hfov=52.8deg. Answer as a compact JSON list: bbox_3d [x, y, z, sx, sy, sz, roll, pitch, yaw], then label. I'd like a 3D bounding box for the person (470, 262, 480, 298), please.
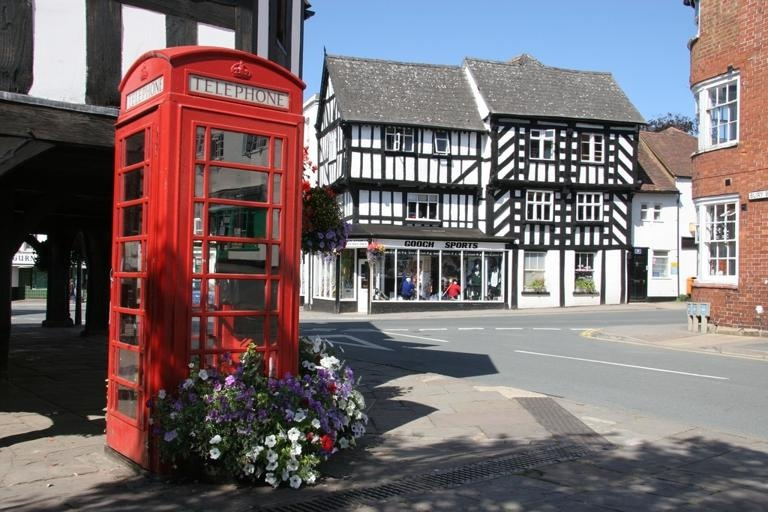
[{"bbox_3d":[4.276,1.148,36.249,0.580,1.621,0.176,-1,4,-33],"label":"person"}]

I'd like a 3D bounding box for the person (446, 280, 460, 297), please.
[{"bbox_3d":[3.095,1.486,35.578,0.418,0.722,0.750,2,1,-25],"label":"person"}]

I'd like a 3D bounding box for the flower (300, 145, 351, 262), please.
[{"bbox_3d":[-0.976,-0.604,11.882,0.887,1.131,0.414,-2,4,-41],"label":"flower"}]

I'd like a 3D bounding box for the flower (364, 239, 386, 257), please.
[{"bbox_3d":[-0.366,-0.326,32.892,0.672,0.745,0.737,5,-6,-15],"label":"flower"}]

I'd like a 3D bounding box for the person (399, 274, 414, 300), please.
[{"bbox_3d":[0.965,1.386,34.851,0.757,0.981,0.375,1,2,-32],"label":"person"}]
